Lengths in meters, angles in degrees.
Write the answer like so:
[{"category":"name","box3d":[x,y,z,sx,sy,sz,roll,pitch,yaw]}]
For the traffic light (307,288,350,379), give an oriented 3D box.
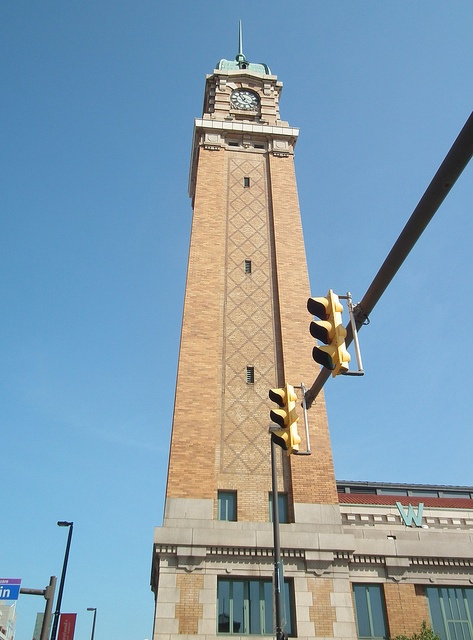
[{"category":"traffic light","box3d":[0.934,0.178,5.359,0.383,1.076,0.708,-8,-34,11]}]
